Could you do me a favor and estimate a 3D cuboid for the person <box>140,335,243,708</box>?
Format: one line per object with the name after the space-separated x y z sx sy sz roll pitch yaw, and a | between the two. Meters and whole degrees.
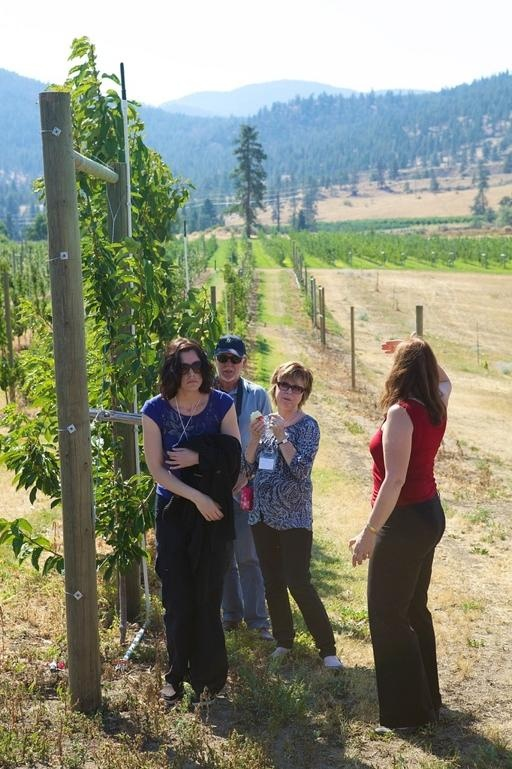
-0.313 0.641 3.588 0.499 1.598 0.267 6 1 -10 | person

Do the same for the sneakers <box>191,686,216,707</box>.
-0.230 1.405 3.528 0.116 0.062 0.159 1 -9 -8 | sneakers

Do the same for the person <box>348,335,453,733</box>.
0.684 0.697 3.618 0.365 1.809 0.579 6 1 40 | person

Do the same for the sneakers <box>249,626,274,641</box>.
0.047 1.468 4.599 0.135 0.103 0.049 3 26 38 | sneakers

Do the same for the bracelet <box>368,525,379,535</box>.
0.515 0.650 3.441 0.017 0.037 0.043 -42 9 -10 | bracelet

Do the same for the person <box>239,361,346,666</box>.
0.209 0.691 4.127 0.616 1.582 0.440 6 1 0 | person

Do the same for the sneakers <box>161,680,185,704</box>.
-0.384 1.439 3.601 0.058 0.101 0.143 -4 -13 30 | sneakers

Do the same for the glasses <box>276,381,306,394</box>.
0.184 0.020 4.081 0.138 0.059 0.053 6 1 3 | glasses
